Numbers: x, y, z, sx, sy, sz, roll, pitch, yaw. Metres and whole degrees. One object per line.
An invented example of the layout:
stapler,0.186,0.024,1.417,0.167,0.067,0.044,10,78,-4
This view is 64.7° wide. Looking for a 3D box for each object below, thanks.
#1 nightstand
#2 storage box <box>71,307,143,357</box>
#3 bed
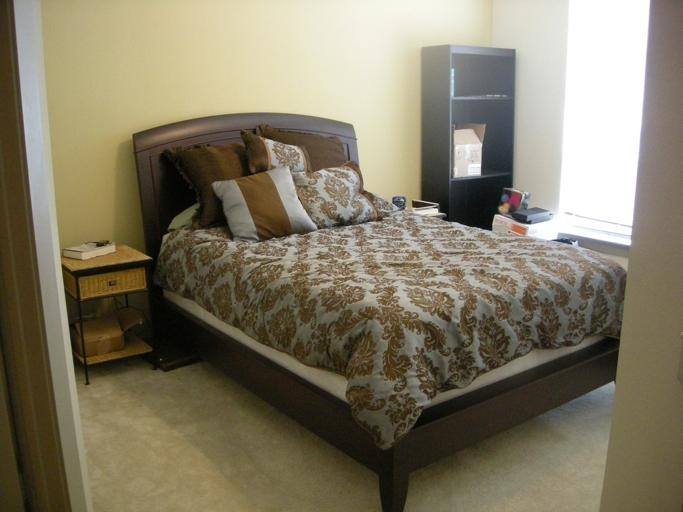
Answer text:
nightstand,-1.263,0.321,2.932,0.493,0.771,0.529,-12,24,-35
storage box,-1.345,0.443,3.101,0.283,0.111,0.285,-7,16,-32
bed,0.034,0.072,3.049,1.596,1.563,2.458,-12,20,-37
